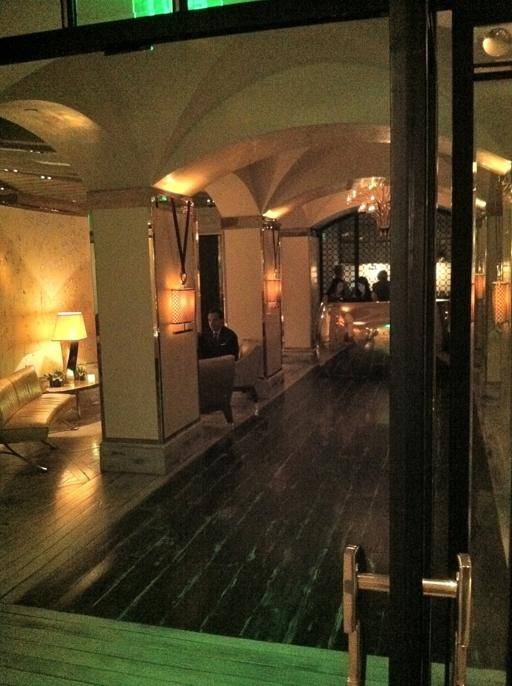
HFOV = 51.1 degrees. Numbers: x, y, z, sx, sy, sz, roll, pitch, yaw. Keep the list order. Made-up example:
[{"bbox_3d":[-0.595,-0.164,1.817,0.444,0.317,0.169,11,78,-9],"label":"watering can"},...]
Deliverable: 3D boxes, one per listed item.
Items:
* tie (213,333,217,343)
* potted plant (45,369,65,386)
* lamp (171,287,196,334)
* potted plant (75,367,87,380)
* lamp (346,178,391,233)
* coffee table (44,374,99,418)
[{"bbox_3d":[-0.607,-0.092,8.116,0.069,0.095,0.028,-4,-8,43],"label":"tie"},{"bbox_3d":[-3.069,0.521,8.098,0.255,0.231,0.257,7,7,0],"label":"potted plant"},{"bbox_3d":[-0.809,-0.360,5.987,0.114,0.487,0.570,-1,5,12],"label":"lamp"},{"bbox_3d":[-2.825,0.482,8.658,0.162,0.214,0.163,1,2,2],"label":"potted plant"},{"bbox_3d":[2.862,-3.019,11.890,1.254,1.181,1.244,2,22,26],"label":"lamp"},{"bbox_3d":[-2.814,0.661,8.151,0.617,0.400,0.829,5,15,17],"label":"coffee table"}]
